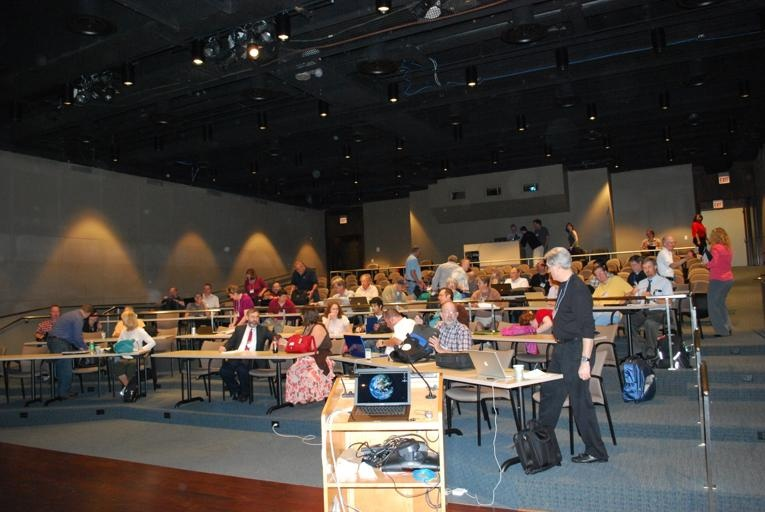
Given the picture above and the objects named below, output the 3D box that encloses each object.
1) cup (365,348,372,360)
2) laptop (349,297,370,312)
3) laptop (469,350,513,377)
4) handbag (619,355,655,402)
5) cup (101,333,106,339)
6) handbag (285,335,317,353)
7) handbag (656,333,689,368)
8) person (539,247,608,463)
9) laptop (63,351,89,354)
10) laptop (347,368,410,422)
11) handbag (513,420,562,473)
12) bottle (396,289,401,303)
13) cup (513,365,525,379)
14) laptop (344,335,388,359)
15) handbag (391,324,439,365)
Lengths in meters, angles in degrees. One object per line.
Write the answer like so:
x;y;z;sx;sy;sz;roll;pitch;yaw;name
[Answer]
-0.212;1.457;8.994;0.113;0.183;0.116;1;-3;0;cup
-0.500;0.993;12.789;0.433;0.308;0.289;4;-20;-12;laptop
1.360;1.381;7.728;0.357;0.321;0.454;-3;1;-43;laptop
3.589;1.728;8.439;0.419;0.634;0.220;-4;-7;18;handbag
-6.078;1.729;13.094;0.117;0.152;0.117;0;-6;0;cup
-1.370;1.471;10.000;0.508;0.326;0.281;-3;-13;16;handbag
4.566;1.505;9.478;0.479;0.555;0.295;-7;-10;25;handbag
2.374;1.388;7.661;0.759;2.469;0.445;-4;-7;20;person
-5.805;1.820;11.366;0.360;0.029;0.269;3;-3;-42;laptop
-0.009;1.513;6.480;0.604;0.369;0.519;0;3;2;laptop
1.929;2.394;7.496;0.545;0.585;0.338;-3;-23;-36;handbag
0.383;0.870;13.104;0.074;0.243;0.168;4;-5;-44;bottle
1.729;1.472;7.671;0.154;0.158;0.154;-1;-5;0;cup
-0.289;1.424;9.570;0.509;0.310;0.513;6;-7;-42;laptop
0.512;1.286;8.575;0.418;0.194;0.547;10;40;45;handbag
